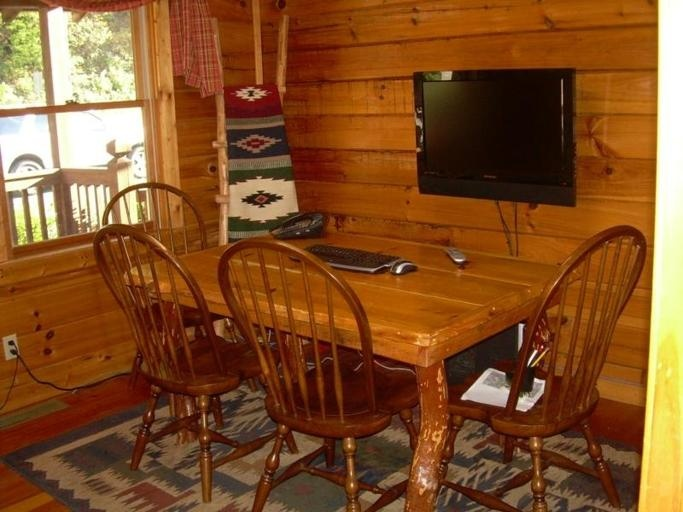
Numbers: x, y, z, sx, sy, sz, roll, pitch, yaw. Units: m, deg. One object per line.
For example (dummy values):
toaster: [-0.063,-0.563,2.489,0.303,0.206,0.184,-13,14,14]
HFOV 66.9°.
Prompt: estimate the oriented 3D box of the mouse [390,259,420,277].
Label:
mouse: [0.283,0.058,2.352,0.085,0.024,0.094,-17,22,-42]

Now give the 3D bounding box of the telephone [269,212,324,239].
telephone: [-0.242,-0.156,2.920,0.255,0.085,0.164,-12,7,7]

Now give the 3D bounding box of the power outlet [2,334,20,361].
power outlet: [-1.977,0.562,3.118,0.023,0.155,0.101,12,26,38]

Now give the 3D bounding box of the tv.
tv: [0.912,-0.704,2.996,1.197,0.657,0.081,3,17,35]
